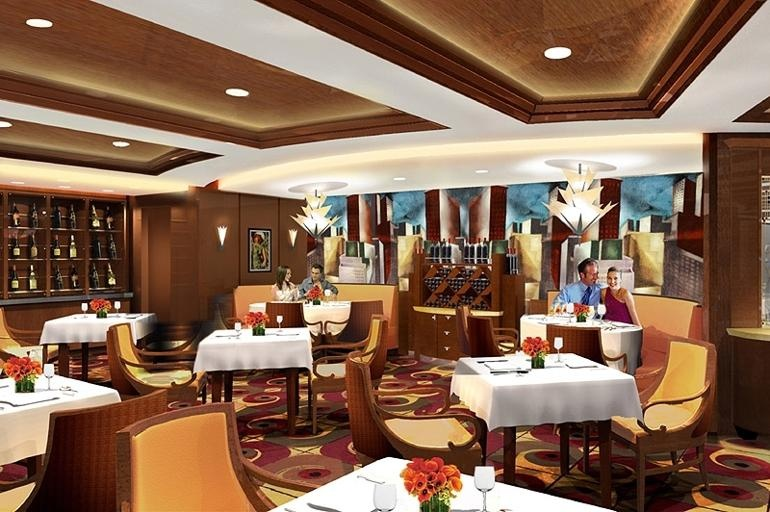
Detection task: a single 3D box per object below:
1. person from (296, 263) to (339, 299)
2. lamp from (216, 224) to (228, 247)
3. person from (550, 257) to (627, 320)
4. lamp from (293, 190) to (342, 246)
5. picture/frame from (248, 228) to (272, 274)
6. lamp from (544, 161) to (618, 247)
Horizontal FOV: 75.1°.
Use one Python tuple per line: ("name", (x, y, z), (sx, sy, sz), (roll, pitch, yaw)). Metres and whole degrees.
("person", (-1.284, 0.495, 9.460), (1.030, 0.698, 0.624), (-1, -2, -13))
("lamp", (-3.514, -0.452, 10.832), (0.074, 0.440, 0.239), (-3, 1, 37))
("person", (3.185, 0.493, 7.688), (0.980, 1.115, 0.408), (1, -19, 9))
("lamp", (-1.441, -0.801, 9.928), (1.205, 0.988, 1.097), (2, 0, -17))
("picture/frame", (-2.881, -0.141, 11.484), (0.595, 0.928, 0.079), (-4, 2, -44))
("lamp", (2.874, -0.836, 7.773), (1.396, 1.144, 1.267), (0, 0, 3))
